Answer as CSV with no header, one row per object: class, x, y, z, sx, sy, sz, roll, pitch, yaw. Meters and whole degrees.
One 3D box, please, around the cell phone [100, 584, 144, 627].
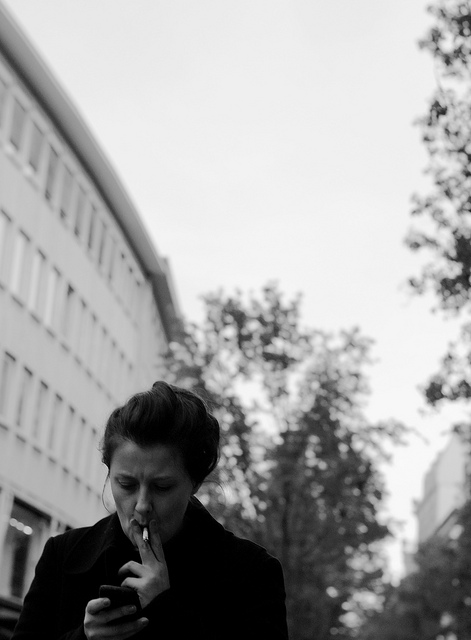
cell phone,-0.236,0.586,1.815,0.089,0.090,0.079,-1,8,13
